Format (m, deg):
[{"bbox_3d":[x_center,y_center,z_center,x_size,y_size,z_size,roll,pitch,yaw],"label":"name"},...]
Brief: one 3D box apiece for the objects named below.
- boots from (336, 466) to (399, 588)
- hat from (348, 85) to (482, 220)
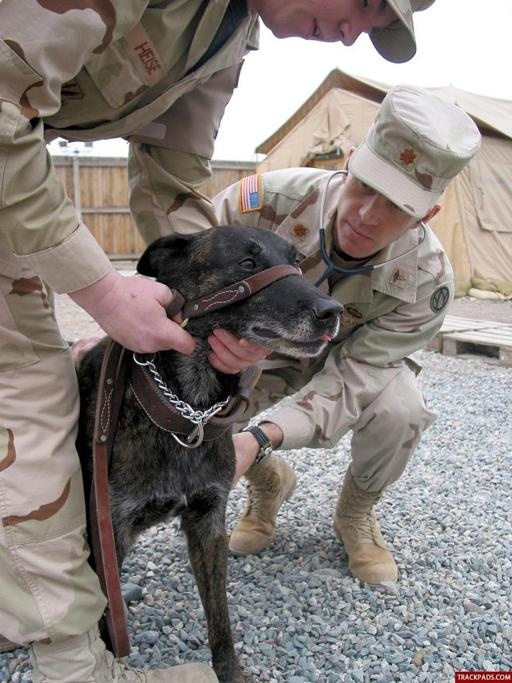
[{"bbox_3d":[0.445,0.789,2.294,0.156,0.260,0.408,-9,23,-13],"label":"boots"},{"bbox_3d":[0.613,-0.774,2.257,0.460,0.288,0.565,33,42,3],"label":"hat"}]
